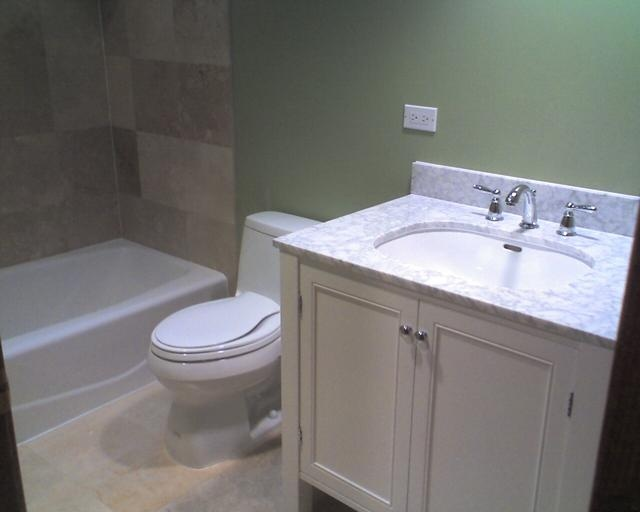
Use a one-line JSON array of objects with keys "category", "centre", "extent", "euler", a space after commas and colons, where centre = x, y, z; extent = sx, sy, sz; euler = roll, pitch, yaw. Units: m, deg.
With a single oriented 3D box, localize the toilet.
[{"category": "toilet", "centre": [-0.428, 0.259, 2.321], "extent": [0.575, 1.061, 0.924], "euler": [13, 20, 37]}]
